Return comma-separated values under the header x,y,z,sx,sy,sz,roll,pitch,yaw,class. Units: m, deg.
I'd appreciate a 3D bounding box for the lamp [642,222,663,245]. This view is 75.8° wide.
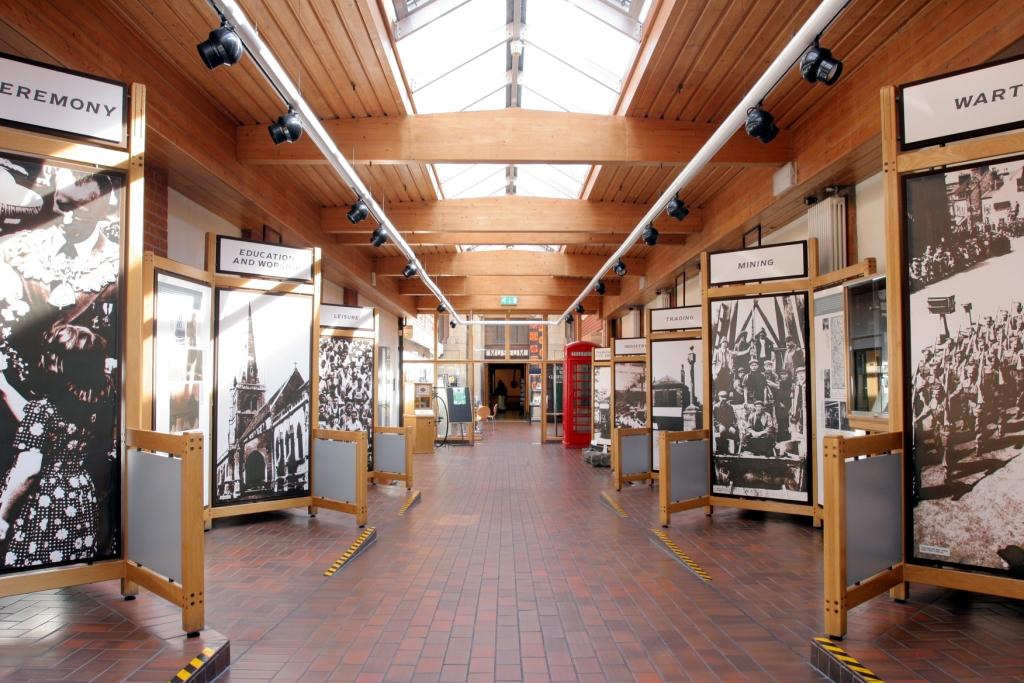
x,y,z,sx,sy,sz,roll,pitch,yaw,class
2.218,-1.713,10.501,0.353,0.198,0.489,5,-28,3,lamp

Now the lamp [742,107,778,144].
x,y,z,sx,sy,sz,roll,pitch,yaw,class
2.528,-2.258,6.833,0.342,0.213,0.429,-21,32,-8,lamp

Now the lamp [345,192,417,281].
x,y,z,sx,sy,sz,roll,pitch,yaw,class
-2.039,-1.662,10.160,0.579,0.489,2.226,-40,-21,-2,lamp
